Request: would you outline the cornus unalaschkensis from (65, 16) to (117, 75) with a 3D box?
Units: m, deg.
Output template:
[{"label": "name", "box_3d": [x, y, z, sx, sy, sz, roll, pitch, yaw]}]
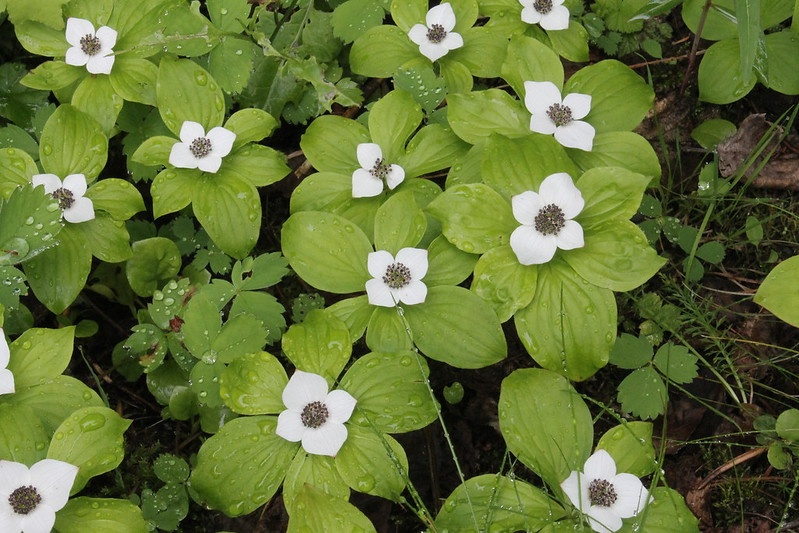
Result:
[{"label": "cornus unalaschkensis", "box_3d": [-2.047, -1.431, 4.607, 0.334, 0.262, 0.289, 1, 45, -5]}]

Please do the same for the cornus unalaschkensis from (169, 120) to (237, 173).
[{"label": "cornus unalaschkensis", "box_3d": [-1.261, -0.760, 4.460, 0.374, 0.160, 0.268, 11, 46, 4]}]

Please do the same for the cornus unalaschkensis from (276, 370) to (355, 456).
[{"label": "cornus unalaschkensis", "box_3d": [-0.493, 0.843, 4.037, 0.405, 0.256, 0.325, 18, 47, 11]}]

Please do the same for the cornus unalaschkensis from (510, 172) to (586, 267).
[{"label": "cornus unalaschkensis", "box_3d": [0.893, -0.295, 4.225, 0.435, 0.360, 0.417, 4, 45, -1]}]
